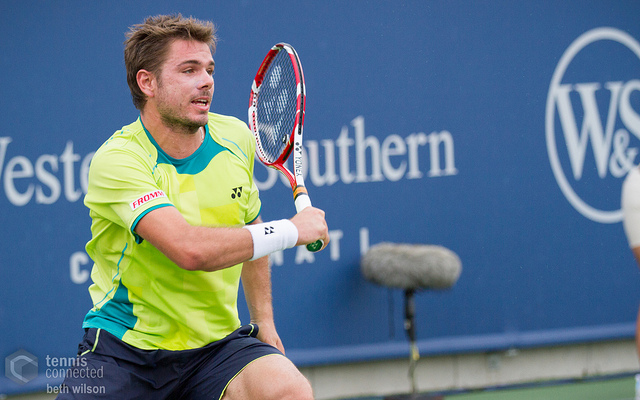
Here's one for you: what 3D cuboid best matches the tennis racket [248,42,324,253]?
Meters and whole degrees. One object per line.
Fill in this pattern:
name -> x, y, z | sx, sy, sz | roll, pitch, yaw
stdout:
tennis racket -> -0.252, -0.381, 5.914 | 0.162, 1.701, 0.608 | 4, -38, -33
